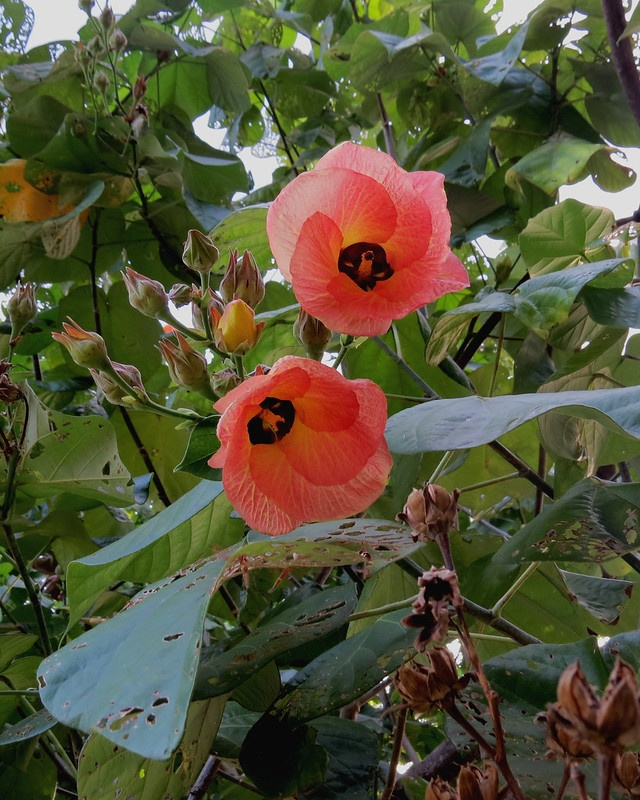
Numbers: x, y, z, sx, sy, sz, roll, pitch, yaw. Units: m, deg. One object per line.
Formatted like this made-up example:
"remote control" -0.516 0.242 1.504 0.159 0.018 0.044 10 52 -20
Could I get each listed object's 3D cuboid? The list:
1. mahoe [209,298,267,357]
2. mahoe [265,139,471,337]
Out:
"mahoe" -0.098 -0.089 0.921 0.071 0.069 0.076 9 -3 -31
"mahoe" 0.066 -0.165 0.872 0.230 0.216 0.112 -32 -18 0
